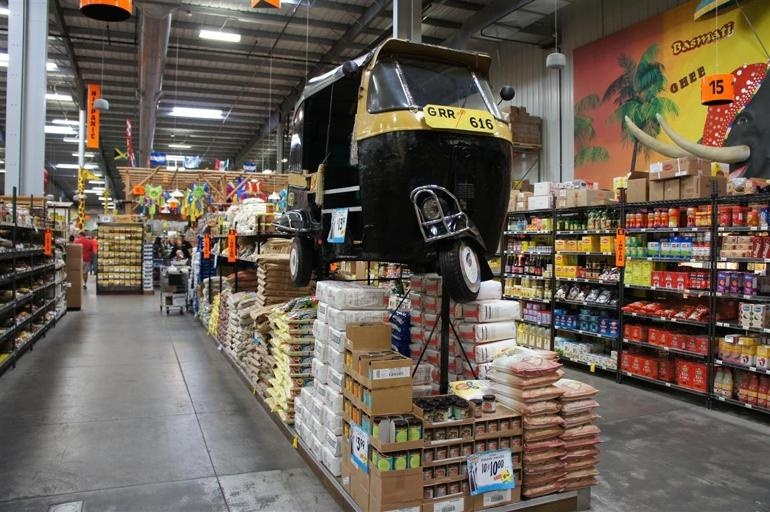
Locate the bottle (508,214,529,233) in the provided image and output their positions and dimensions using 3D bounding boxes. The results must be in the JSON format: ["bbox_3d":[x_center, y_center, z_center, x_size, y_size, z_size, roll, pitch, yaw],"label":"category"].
[{"bbox_3d":[2.432,-0.575,10.008,0.151,0.278,0.305,13,-12,-33],"label":"bottle"}]

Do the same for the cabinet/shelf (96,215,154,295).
[{"bbox_3d":[-8.494,0.054,18.102,1.668,2.369,0.440,0,6,-8],"label":"cabinet/shelf"}]
